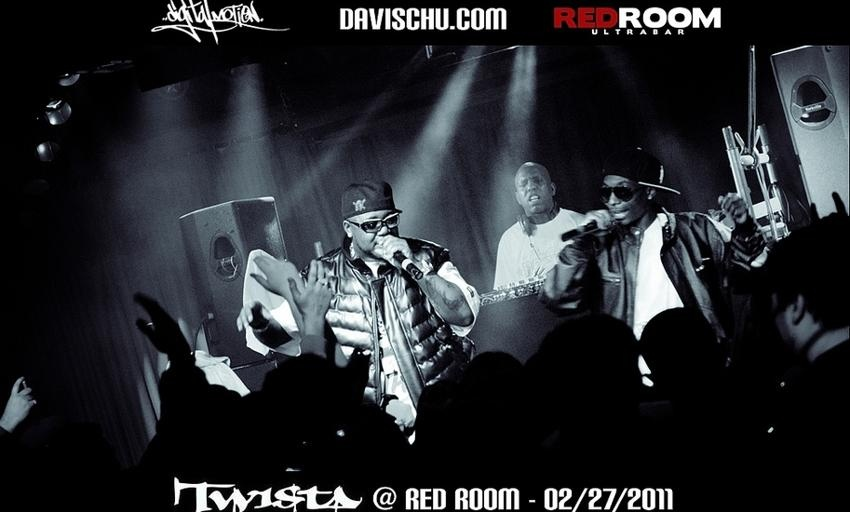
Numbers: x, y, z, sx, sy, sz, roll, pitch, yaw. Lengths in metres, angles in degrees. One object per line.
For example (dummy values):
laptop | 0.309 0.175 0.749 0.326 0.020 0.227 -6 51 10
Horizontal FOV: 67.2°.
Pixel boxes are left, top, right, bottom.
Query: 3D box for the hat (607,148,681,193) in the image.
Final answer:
hat | 1.667 -0.665 4.942 0.479 0.189 0.334 20 4 -16

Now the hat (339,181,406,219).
hat | -0.440 -0.438 5.035 0.381 0.201 0.265 -7 10 39
